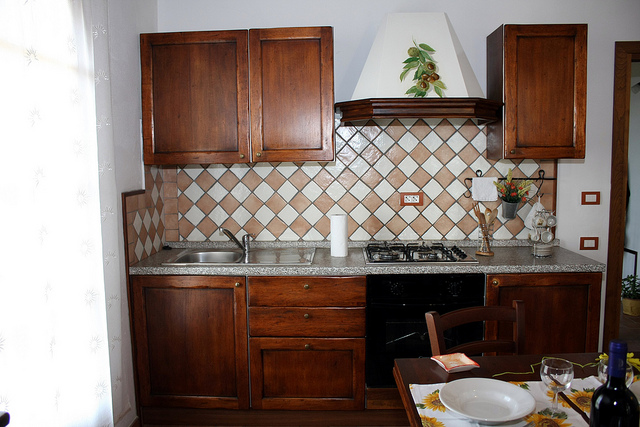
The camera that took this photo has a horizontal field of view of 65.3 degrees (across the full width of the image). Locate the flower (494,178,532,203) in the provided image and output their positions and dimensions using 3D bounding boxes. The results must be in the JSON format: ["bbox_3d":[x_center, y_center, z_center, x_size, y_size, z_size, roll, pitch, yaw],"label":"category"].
[{"bbox_3d":[1.455,-0.174,3.767,0.224,0.145,0.207,-2,8,4],"label":"flower"}]

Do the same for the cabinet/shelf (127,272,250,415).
[{"bbox_3d":[-0.839,0.911,3.847,0.978,1.296,0.886,-1,-2,1],"label":"cabinet/shelf"}]

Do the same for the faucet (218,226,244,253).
[{"bbox_3d":[-0.671,0.197,3.792,0.182,0.197,0.370,-2,2,-11],"label":"faucet"}]

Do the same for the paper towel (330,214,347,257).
[{"bbox_3d":[0.122,0.194,3.680,0.143,0.325,0.138,-1,32,0],"label":"paper towel"}]

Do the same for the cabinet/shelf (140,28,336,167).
[{"bbox_3d":[-0.708,-0.916,3.883,1.495,0.918,0.832,-6,17,-24],"label":"cabinet/shelf"}]

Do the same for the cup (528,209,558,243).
[{"bbox_3d":[1.630,0.098,3.677,0.182,0.253,0.107,-1,2,6],"label":"cup"}]

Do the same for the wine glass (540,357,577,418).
[{"bbox_3d":[1.041,0.771,2.210,0.135,0.250,0.137,-2,5,-36],"label":"wine glass"}]

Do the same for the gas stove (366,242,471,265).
[{"bbox_3d":[0.695,0.279,3.641,0.757,0.116,0.528,-1,2,1],"label":"gas stove"}]

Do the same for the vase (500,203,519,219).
[{"bbox_3d":[1.410,-0.034,3.788,0.123,0.119,0.113,-13,22,-39],"label":"vase"}]

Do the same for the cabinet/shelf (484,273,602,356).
[{"bbox_3d":[1.488,0.762,3.594,0.800,0.716,0.472,3,-2,-8],"label":"cabinet/shelf"}]

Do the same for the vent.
[{"bbox_3d":[0.674,-1.056,3.701,0.853,0.506,0.794,-1,0,1],"label":"vent"}]

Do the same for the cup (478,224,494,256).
[{"bbox_3d":[1.201,0.197,3.653,0.122,0.232,0.149,-1,2,18],"label":"cup"}]
